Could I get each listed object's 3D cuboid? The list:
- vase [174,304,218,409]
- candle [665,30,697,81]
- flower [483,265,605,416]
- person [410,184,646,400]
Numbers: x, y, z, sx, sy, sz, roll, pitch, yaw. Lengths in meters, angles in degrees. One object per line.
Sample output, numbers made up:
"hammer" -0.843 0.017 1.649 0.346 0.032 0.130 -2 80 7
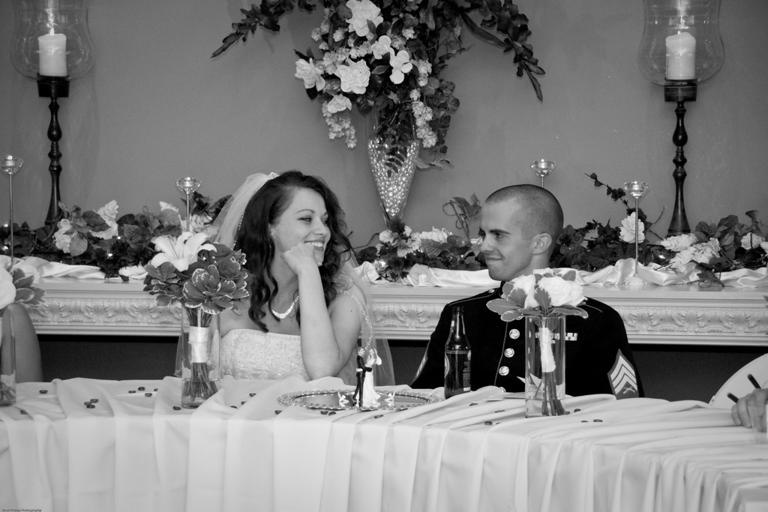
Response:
"vase" -0.723 0.335 3.578 0.114 0.290 0.109 6 4 16
"candle" 1.541 -1.035 4.899 0.170 0.250 0.159 -2 5 -15
"flower" 0.596 0.309 3.454 0.478 0.635 0.452 -1 1 33
"person" 0.635 0.167 4.132 1.037 0.892 0.556 3 9 44
